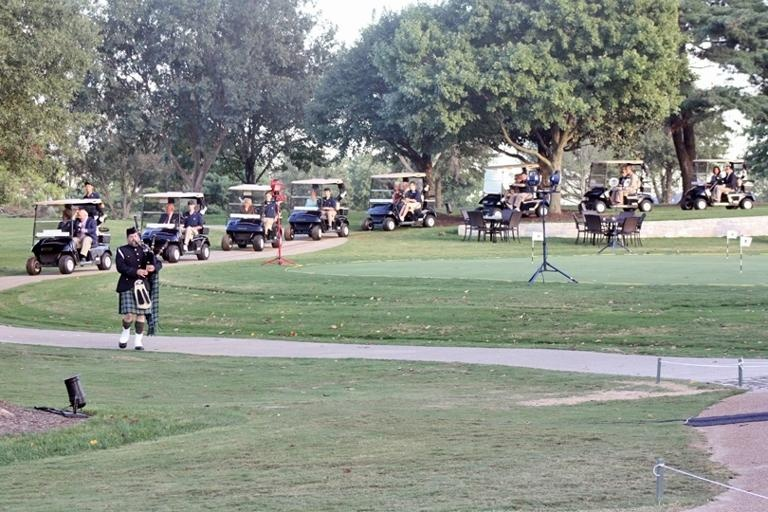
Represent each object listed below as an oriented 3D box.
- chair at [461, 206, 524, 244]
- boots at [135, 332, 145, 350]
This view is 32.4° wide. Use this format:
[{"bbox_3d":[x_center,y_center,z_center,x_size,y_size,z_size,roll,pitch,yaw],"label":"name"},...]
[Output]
[{"bbox_3d":[5.690,-1.622,69.630,2.875,1.701,3.811,1,-1,2],"label":"chair"},{"bbox_3d":[-8.519,2.918,46.104,0.314,0.554,1.244,1,-1,-10],"label":"boots"}]
